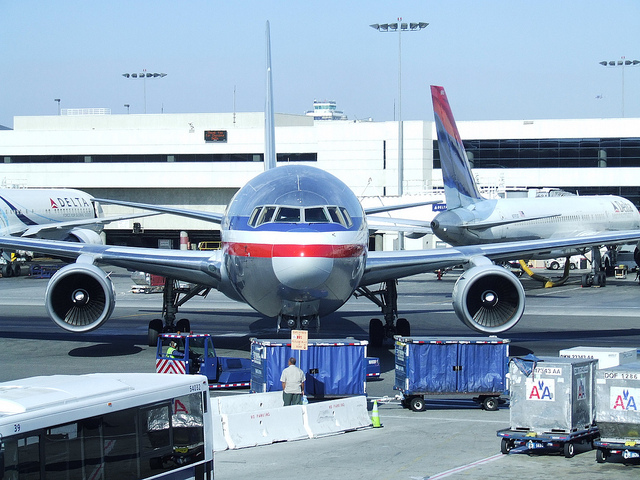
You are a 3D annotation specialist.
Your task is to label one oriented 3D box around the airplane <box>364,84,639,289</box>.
[{"bbox_3d":[5.734,-2.757,78.836,18.673,11.545,22.418,-2,3,28],"label":"airplane"}]
